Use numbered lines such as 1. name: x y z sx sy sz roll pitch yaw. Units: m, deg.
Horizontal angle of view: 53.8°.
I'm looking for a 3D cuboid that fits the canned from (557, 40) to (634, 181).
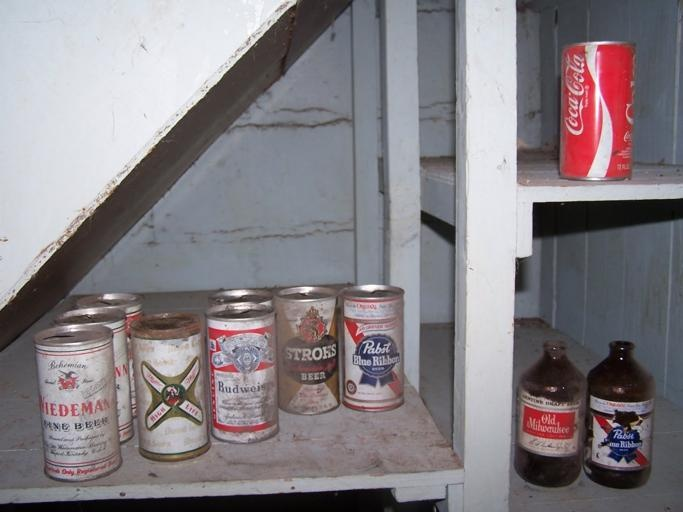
1. canned: 0.481 -0.276 1.282 0.124 0.258 0.104 -5 13 -6
